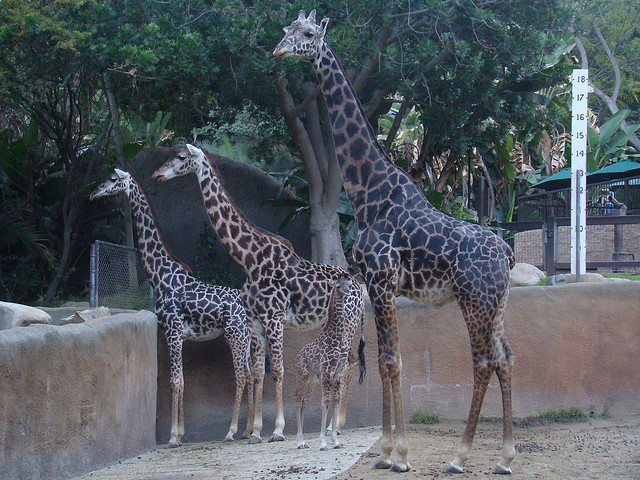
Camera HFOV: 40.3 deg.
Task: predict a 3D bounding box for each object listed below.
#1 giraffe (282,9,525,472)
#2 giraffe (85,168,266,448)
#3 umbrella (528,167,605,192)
[{"bbox_3d":[1.955,0.198,15.491,3.257,7.094,6.076,-3,-7,19],"label":"giraffe"},{"bbox_3d":[-2.682,1.248,16.915,3.281,5.405,1.120,-2,7,-9],"label":"giraffe"},{"bbox_3d":[7.167,-1.911,25.763,1.744,0.904,2.088,-1,1,-35],"label":"umbrella"}]
